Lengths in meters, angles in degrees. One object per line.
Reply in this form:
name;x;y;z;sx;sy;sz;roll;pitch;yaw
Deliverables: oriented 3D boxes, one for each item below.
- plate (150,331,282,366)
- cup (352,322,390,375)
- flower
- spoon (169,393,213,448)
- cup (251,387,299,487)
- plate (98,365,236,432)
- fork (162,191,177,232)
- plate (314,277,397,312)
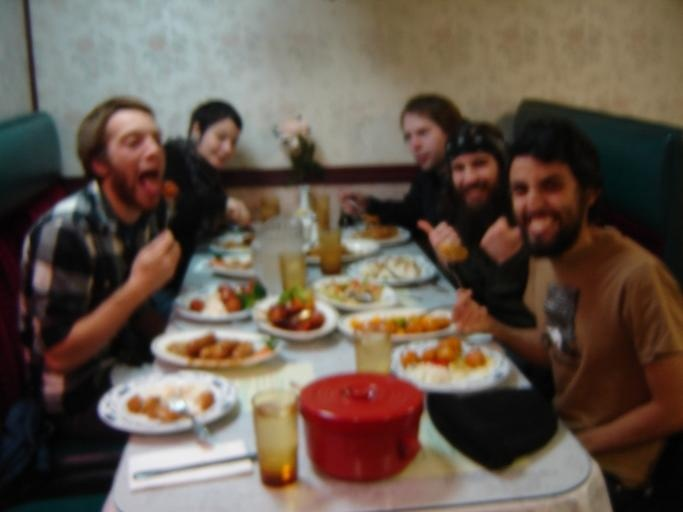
plate;-0.263;0.194;1.168;0.171;0.038;0.115;1;18;-6
cup;0.059;0.185;1.119;0.070;0.087;0.076;0;4;0
flower;-0.119;-0.300;1.602;0.125;0.180;0.091;-16;27;3
spoon;-0.284;0.271;1.014;0.036;0.027;0.174;0;26;-39
cup;-0.103;0.293;0.917;0.079;0.121;0.095;-9;19;-7
plate;-0.313;0.268;1.022;0.152;0.027;0.154;-8;24;-28
fork;-0.543;-0.144;1.762;0.059;0.071;0.077;-1;12;-15
plate;0.037;0.097;1.414;0.111;0.033;0.115;11;14;37
